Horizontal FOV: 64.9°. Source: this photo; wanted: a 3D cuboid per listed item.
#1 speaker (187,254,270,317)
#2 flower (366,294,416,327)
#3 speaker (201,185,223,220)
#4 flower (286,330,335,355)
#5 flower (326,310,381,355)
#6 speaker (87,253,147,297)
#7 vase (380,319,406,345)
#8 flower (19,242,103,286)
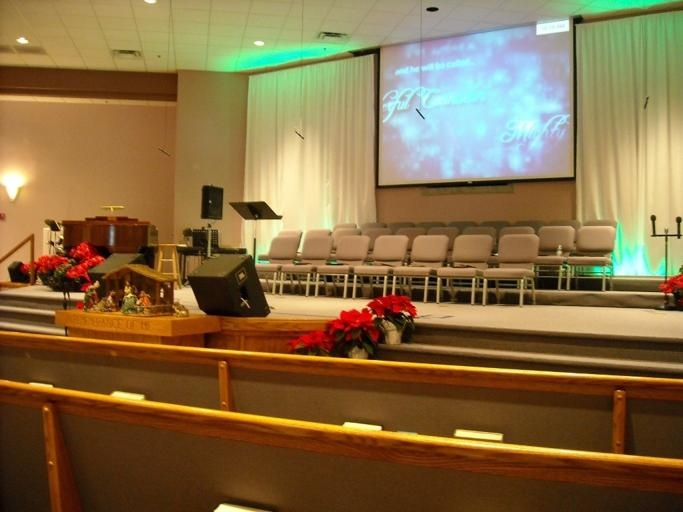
[{"bbox_3d":[-0.790,0.225,3.779,0.535,0.460,0.399,-2,1,-9],"label":"speaker"},{"bbox_3d":[0.368,0.437,3.906,0.271,0.142,0.270,9,3,-32],"label":"flower"},{"bbox_3d":[-1.593,-0.661,6.577,0.251,0.449,0.479,-2,1,-13],"label":"speaker"},{"bbox_3d":[-0.206,0.593,3.622,0.190,0.089,0.191,1,-1,35],"label":"flower"},{"bbox_3d":[0.076,0.508,3.704,0.322,0.221,0.320,-3,4,-42],"label":"flower"},{"bbox_3d":[-1.707,0.123,4.102,0.350,0.278,0.355,-2,1,11],"label":"speaker"},{"bbox_3d":[0.362,0.549,3.833,0.168,0.151,0.158,-2,-4,19],"label":"vase"},{"bbox_3d":[-3.298,0.104,6.297,0.803,0.424,0.600,5,6,17],"label":"flower"}]
